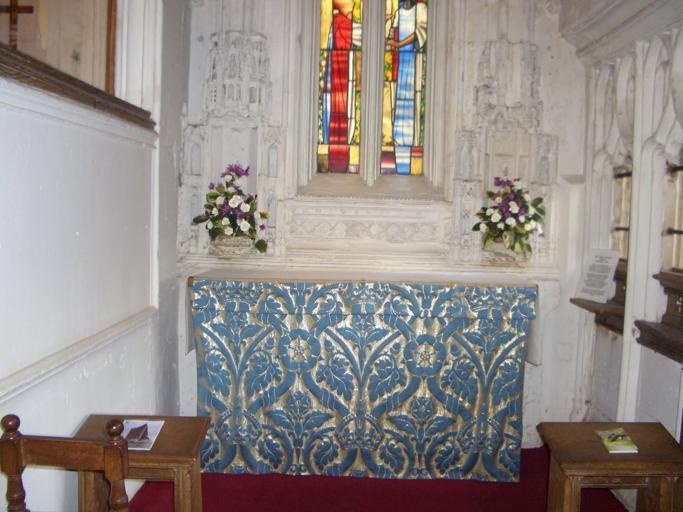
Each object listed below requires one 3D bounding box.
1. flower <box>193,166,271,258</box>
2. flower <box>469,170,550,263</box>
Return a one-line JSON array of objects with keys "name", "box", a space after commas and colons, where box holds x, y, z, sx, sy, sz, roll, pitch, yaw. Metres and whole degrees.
[{"name": "flower", "box": [-0.802, -0.291, 4.896, 0.503, 0.686, 0.596, -2, 4, -18]}, {"name": "flower", "box": [1.173, -0.260, 4.741, 0.500, 0.613, 0.353, 2, 3, 19]}]
